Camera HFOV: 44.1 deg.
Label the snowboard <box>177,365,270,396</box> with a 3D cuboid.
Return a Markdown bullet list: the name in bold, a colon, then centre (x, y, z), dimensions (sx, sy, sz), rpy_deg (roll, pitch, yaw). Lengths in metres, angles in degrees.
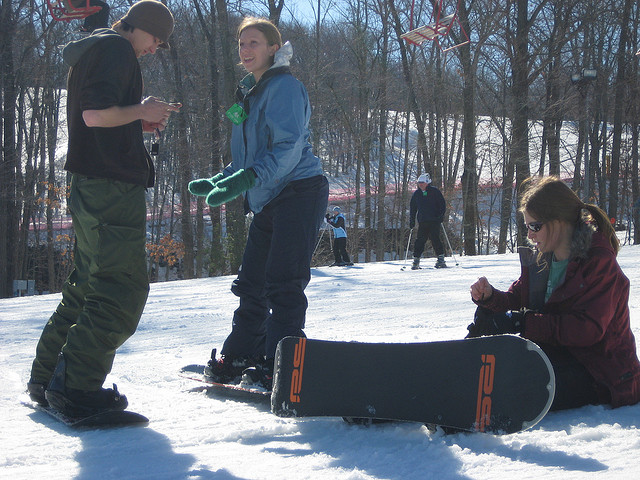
- **snowboard**: centre (-0.733, 0.997, 5.690), dimensions (0.941, 0.141, 0.269), rpy_deg (3, 8, 44)

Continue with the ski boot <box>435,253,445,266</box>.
- **ski boot**: centre (2.113, 0.336, 14.012), dimensions (0.142, 0.199, 0.228), rpy_deg (-1, 6, 8)

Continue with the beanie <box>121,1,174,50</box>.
- **beanie**: centre (-1.122, -1.465, 5.320), dimensions (0.336, 0.213, 0.227), rpy_deg (32, 9, -10)

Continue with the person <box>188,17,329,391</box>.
- **person**: centre (-0.433, -0.255, 5.819), dimensions (0.802, 2.722, 0.967), rpy_deg (-4, -5, 40)

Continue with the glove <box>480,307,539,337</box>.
- **glove**: centre (1.212, 0.519, 5.187), dimensions (0.279, 0.129, 0.184), rpy_deg (-1, 6, -4)

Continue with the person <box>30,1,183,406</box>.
- **person**: centre (-1.325, -0.203, 5.156), dimensions (1.200, 2.830, 0.893), rpy_deg (-11, 15, -42)

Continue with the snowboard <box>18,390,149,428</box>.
- **snowboard**: centre (-1.573, 1.116, 5.092), dimensions (0.925, 0.110, 0.242), rpy_deg (0, 6, 19)

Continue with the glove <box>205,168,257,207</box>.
- **glove**: centre (-0.629, -0.392, 5.481), dimensions (0.440, 0.179, 0.246), rpy_deg (-21, -3, -34)

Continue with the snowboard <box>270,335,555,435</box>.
- **snowboard**: centre (0.639, 0.874, 4.907), dimensions (1.786, 0.593, 0.596), rpy_deg (1, 2, 5)
